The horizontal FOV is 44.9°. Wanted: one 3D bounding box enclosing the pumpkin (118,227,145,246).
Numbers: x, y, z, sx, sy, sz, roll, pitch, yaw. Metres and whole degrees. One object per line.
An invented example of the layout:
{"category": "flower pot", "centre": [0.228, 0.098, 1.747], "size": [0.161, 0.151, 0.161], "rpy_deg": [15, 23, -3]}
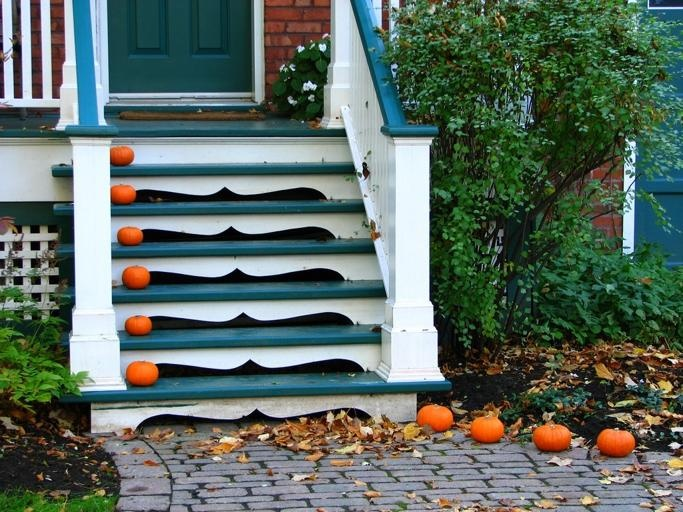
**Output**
{"category": "pumpkin", "centre": [-1.423, -0.124, 5.627], "size": [0.159, 0.112, 0.139], "rpy_deg": [-2, 6, -6]}

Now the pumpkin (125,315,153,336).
{"category": "pumpkin", "centre": [-1.272, 0.432, 5.242], "size": [0.179, 0.117, 0.174], "rpy_deg": [-7, 10, -27]}

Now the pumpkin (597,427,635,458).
{"category": "pumpkin", "centre": [1.518, 1.021, 4.642], "size": [0.177, 0.122, 0.173], "rpy_deg": [-3, 2, -41]}

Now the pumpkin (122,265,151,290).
{"category": "pumpkin", "centre": [-1.330, 0.146, 5.451], "size": [0.174, 0.128, 0.173], "rpy_deg": [-1, 1, 39]}

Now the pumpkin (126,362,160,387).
{"category": "pumpkin", "centre": [-1.187, 0.692, 4.938], "size": [0.179, 0.122, 0.164], "rpy_deg": [2, -1, -25]}

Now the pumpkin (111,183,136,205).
{"category": "pumpkin", "centre": [-1.489, -0.420, 5.750], "size": [0.163, 0.115, 0.151], "rpy_deg": [-1, 3, 28]}

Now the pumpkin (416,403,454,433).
{"category": "pumpkin", "centre": [0.555, 0.962, 4.952], "size": [0.225, 0.143, 0.161], "rpy_deg": [-2, 9, 5]}

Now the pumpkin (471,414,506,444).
{"category": "pumpkin", "centre": [0.840, 0.980, 4.773], "size": [0.178, 0.122, 0.165], "rpy_deg": [0, 3, 24]}

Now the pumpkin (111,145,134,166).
{"category": "pumpkin", "centre": [-1.560, -0.695, 5.879], "size": [0.165, 0.121, 0.152], "rpy_deg": [-3, 6, -29]}

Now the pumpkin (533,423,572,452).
{"category": "pumpkin", "centre": [1.181, 0.995, 4.677], "size": [0.192, 0.108, 0.176], "rpy_deg": [-1, 12, 26]}
